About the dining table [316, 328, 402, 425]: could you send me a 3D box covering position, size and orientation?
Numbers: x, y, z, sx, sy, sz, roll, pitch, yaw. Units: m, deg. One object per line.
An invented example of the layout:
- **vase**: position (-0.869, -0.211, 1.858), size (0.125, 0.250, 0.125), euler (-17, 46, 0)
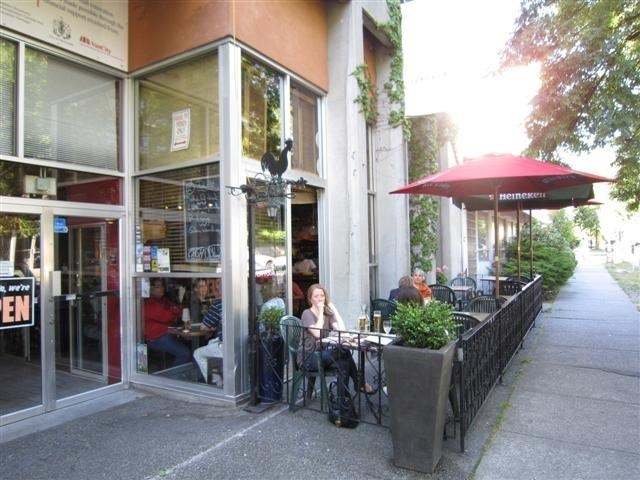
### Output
- **dining table**: position (0.562, 1.662, 6.675), size (1.240, 1.294, 0.983), euler (0, 0, 30)

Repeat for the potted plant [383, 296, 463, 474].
- **potted plant**: position (1.115, 1.606, 5.583), size (0.809, 1.751, 0.645), euler (-2, 10, -5)

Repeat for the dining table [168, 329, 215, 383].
- **dining table**: position (-1.829, 1.651, 7.409), size (0.673, 0.809, 0.676), euler (0, -5, -2)

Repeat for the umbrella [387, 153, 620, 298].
- **umbrella**: position (4.678, -0.283, 12.991), size (3.615, 2.880, 4.156), euler (3, 3, 29)

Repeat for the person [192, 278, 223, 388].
- **person**: position (-1.604, 1.295, 7.173), size (0.558, 1.484, 0.226), euler (6, 12, 35)
